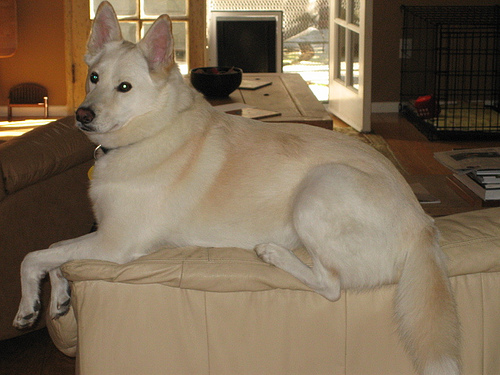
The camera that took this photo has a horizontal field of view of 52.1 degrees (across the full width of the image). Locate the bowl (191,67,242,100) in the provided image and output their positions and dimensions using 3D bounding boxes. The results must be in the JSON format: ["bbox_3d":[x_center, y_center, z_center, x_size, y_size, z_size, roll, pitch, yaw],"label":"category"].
[{"bbox_3d":[-0.269,-0.734,3.622,0.242,0.160,0.246,-2,13,0],"label":"bowl"}]

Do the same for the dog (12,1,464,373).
[{"bbox_3d":[0.046,-0.060,2.012,1.420,1.188,1.009,1,10,4],"label":"dog"}]
